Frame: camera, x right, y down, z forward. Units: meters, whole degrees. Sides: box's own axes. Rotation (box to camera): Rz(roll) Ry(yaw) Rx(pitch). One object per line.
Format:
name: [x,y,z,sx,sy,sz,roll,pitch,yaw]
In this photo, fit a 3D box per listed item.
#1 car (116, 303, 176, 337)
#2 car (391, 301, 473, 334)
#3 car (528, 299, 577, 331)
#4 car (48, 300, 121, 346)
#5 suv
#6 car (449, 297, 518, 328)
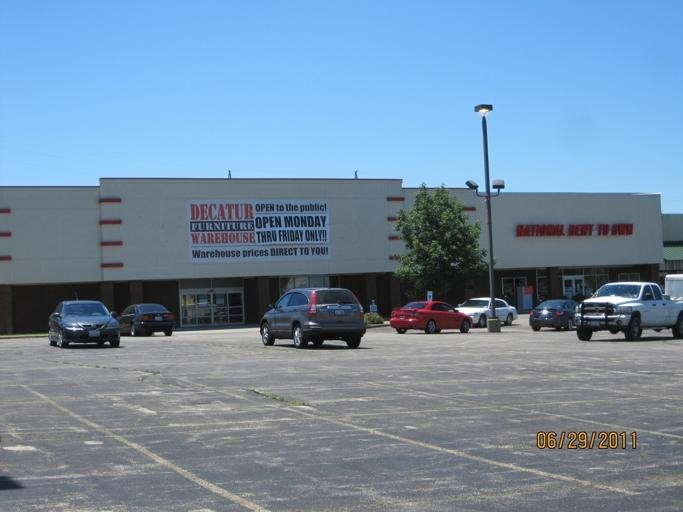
car: [-8.754,2.812,47.722,1.769,1.237,4.095,0,-4,-28]
car: [3.546,2.422,42.860,3.776,1.150,1.654,2,-3,-42]
car: [8.593,2.453,44.054,1.585,1.165,1.995,2,4,33]
car: [-8.831,2.263,36.820,1.955,1.461,4.557,-1,-2,-24]
suv: [-1.331,1.878,32.881,3.907,1.894,1.814,2,4,38]
car: [6.482,2.543,47.942,1.237,0.969,3.150,-4,-8,40]
